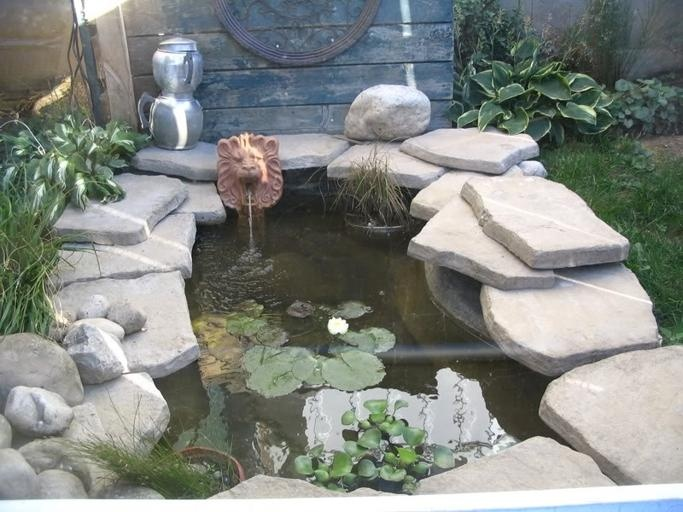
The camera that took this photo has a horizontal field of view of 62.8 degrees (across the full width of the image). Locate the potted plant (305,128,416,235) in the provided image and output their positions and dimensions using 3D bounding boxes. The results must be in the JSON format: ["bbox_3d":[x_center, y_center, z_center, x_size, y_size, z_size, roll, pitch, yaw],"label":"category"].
[{"bbox_3d":[0.134,-0.536,4.565,0.779,0.395,0.768,1,58,-1],"label":"potted plant"}]
